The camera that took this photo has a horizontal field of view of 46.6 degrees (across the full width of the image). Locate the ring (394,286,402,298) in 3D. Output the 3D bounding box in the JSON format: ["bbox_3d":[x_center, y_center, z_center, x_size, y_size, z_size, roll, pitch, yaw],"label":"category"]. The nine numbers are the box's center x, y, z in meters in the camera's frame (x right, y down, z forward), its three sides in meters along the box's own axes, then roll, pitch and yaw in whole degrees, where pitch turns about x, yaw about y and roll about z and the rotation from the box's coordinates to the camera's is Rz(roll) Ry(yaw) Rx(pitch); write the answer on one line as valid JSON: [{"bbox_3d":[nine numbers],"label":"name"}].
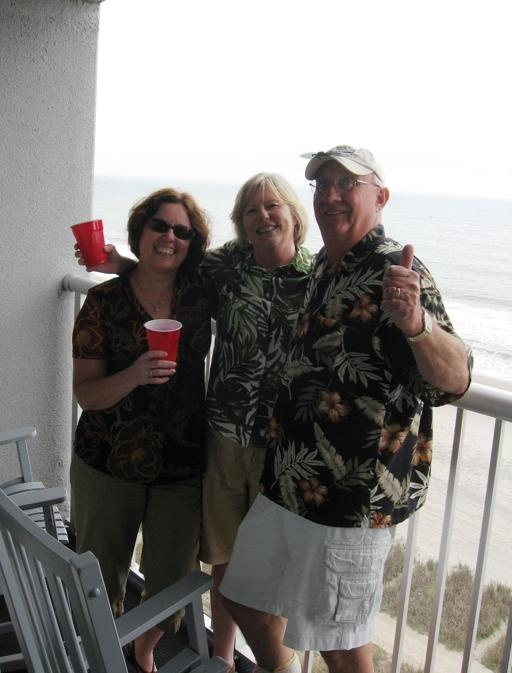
[{"bbox_3d":[0.251,-0.079,1.054,0.013,0.018,0.006,4,13,9],"label":"ring"}]

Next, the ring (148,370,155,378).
[{"bbox_3d":[-0.254,0.090,1.449,0.014,0.017,0.017,-2,-12,-4],"label":"ring"}]

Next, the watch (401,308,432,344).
[{"bbox_3d":[0.293,-0.018,1.087,0.056,0.056,0.025,-13,12,-42],"label":"watch"}]

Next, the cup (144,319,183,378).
[{"bbox_3d":[-0.226,0.011,1.442,0.080,0.098,0.103,0,13,-10],"label":"cup"}]
